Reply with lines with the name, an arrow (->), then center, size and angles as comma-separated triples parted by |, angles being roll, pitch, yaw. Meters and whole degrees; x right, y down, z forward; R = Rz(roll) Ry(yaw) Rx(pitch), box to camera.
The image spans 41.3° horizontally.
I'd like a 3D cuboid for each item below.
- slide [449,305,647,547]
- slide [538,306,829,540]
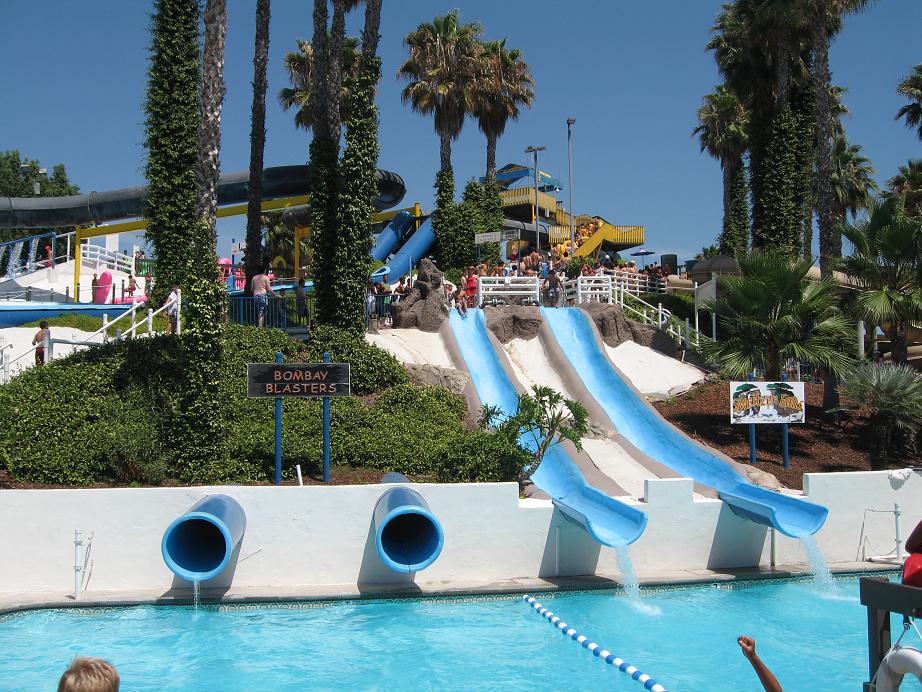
slide -> 1.565, 1.482, 27.424 | 1.637, 4.219, 11.489 | 0, 0, -12
slide -> 4.610, 2.019, 28.721 | 1.825, 1.479, 13.179 | 3, 18, -11
